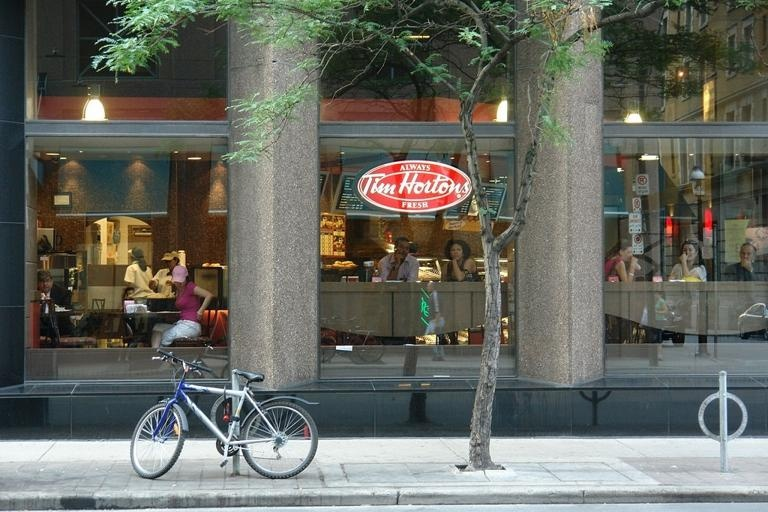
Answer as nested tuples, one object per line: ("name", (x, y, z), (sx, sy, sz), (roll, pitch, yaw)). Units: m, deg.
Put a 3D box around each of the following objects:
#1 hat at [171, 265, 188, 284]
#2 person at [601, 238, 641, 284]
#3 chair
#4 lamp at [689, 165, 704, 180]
("hat", (-3.806, 0.342, 19.667), (0.256, 0.330, 0.120), (1, 6, -7))
("person", (4.473, 0.146, 20.060), (0.743, 0.777, 0.542), (8, 5, 26))
("chair", (-5.336, 1.287, 20.679), (2.735, 0.959, 0.588), (1, -3, -5))
("lamp", (5.911, -1.574, 20.045), (0.278, 0.222, 0.273), (2, 2, 37))
